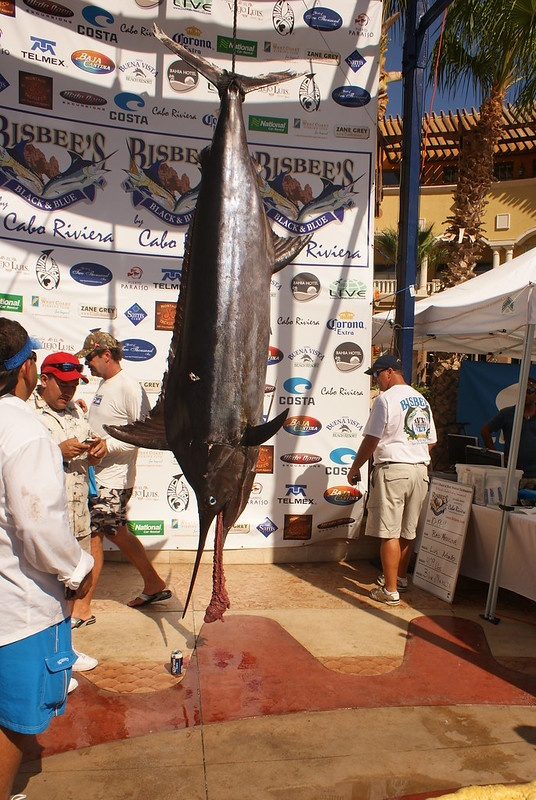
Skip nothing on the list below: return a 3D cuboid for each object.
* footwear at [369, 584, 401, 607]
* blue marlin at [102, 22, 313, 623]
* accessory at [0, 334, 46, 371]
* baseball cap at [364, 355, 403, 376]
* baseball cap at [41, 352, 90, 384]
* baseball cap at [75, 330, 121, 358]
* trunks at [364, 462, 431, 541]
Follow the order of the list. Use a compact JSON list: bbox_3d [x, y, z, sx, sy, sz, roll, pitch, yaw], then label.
[{"bbox_3d":[0.810,1.344,4.472,0.095,0.092,0.208,-4,5,-34],"label":"footwear"},{"bbox_3d":[-0.188,-0.222,2.251,0.561,2.020,0.449,3,0,8],"label":"blue marlin"},{"bbox_3d":[-0.683,-0.126,1.856,0.125,0.034,0.082,-43,28,-18],"label":"accessory"},{"bbox_3d":[0.842,-0.263,4.766,0.215,0.112,0.147,0,2,19],"label":"baseball cap"},{"bbox_3d":[-0.980,-0.156,3.092,0.137,0.100,0.189,9,-5,-44],"label":"baseball cap"},{"bbox_3d":[-1.012,-0.335,3.841,0.246,0.142,0.158,-4,6,-16],"label":"baseball cap"},{"bbox_3d":[0.918,0.728,4.595,0.405,0.563,0.284,3,0,8],"label":"trunks"}]
